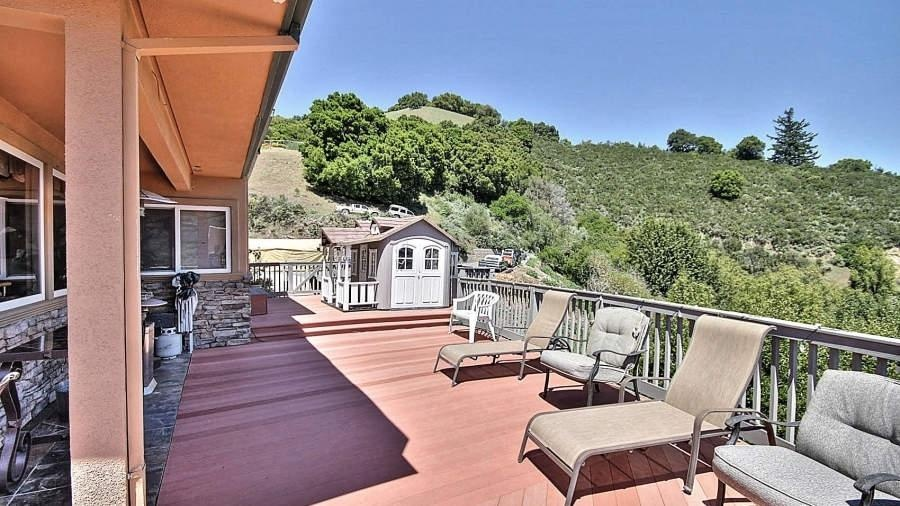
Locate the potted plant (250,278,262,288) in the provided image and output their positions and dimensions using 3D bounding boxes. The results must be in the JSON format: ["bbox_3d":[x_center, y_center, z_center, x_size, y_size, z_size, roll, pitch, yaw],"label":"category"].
[{"bbox_3d":[-6.912,0.999,17.464,0.367,0.195,0.730,2,3,-24],"label":"potted plant"}]

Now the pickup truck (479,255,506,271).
[{"bbox_3d":[2.293,0.471,25.402,0.949,0.575,1.364,1,-3,-14],"label":"pickup truck"}]

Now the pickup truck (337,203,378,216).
[{"bbox_3d":[-7.078,-3.274,36.741,3.363,0.927,1.234,-2,5,-12],"label":"pickup truck"}]

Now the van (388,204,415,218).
[{"bbox_3d":[-3.655,-3.349,37.320,1.839,1.072,5.106,3,2,-4],"label":"van"}]

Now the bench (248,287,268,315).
[{"bbox_3d":[-4.912,1.259,12.429,0.584,0.833,0.890,-2,3,-16],"label":"bench"}]

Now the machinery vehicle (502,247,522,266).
[{"bbox_3d":[4.303,0.253,33.106,0.947,0.852,2.408,-1,-1,4],"label":"machinery vehicle"}]

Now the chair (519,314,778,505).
[{"bbox_3d":[2.626,1.879,6.717,3.468,1.744,1.873,-2,2,-17],"label":"chair"}]

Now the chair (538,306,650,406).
[{"bbox_3d":[2.506,1.625,7.715,1.805,1.519,1.436,-2,0,-19],"label":"chair"}]
